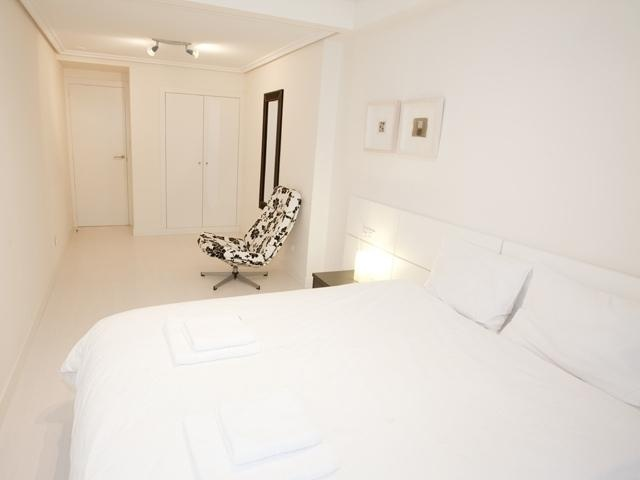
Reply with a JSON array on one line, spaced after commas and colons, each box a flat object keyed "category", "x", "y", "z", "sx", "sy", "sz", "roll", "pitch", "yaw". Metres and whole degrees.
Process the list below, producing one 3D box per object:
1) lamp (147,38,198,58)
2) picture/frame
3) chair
[{"category": "lamp", "x": -1.781, "y": -2.310, "z": 5.052, "sx": 0.565, "sy": 0.142, "sz": 0.785, "roll": -3, "pitch": 17, "yaw": -22}, {"category": "picture/frame", "x": 0.739, "y": -0.961, "z": 3.540, "sx": 0.047, "sy": 0.374, "sz": 0.630, "roll": -8, "pitch": 21, "yaw": -32}, {"category": "chair", "x": -0.839, "y": -0.067, "z": 5.080, "sx": 1.168, "sy": 1.137, "sz": 0.900, "roll": -1, "pitch": 16, "yaw": -16}]
